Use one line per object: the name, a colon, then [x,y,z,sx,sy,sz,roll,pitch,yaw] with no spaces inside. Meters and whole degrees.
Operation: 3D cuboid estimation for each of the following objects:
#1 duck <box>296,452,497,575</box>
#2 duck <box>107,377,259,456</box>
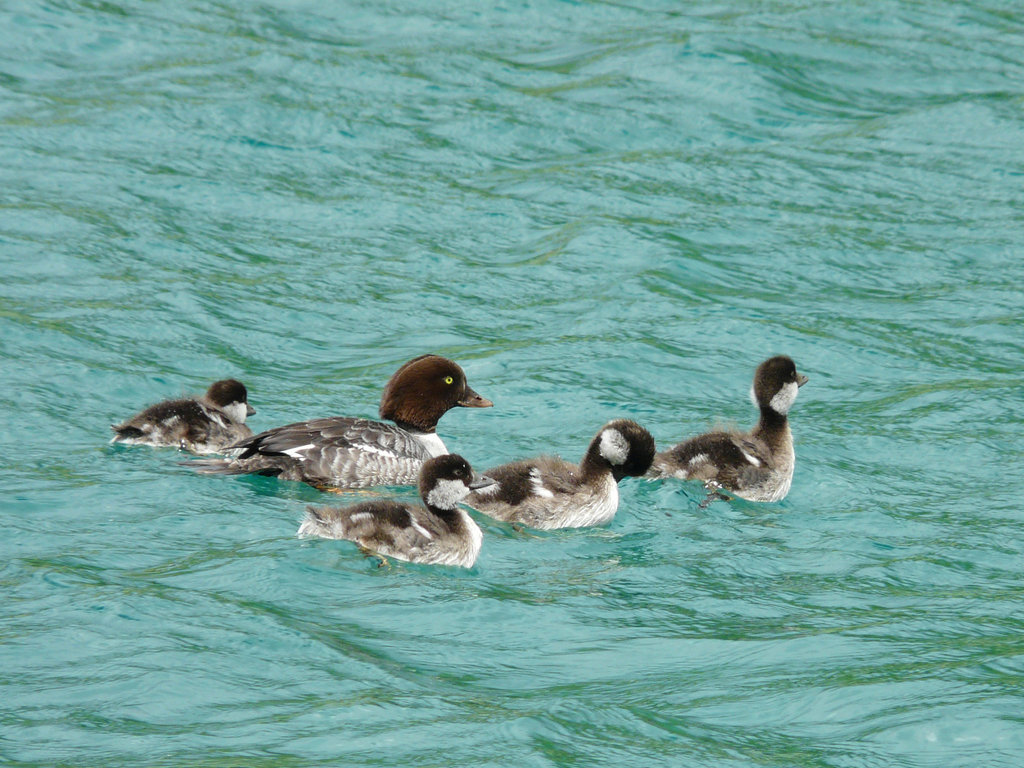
duck: [-0.871,1.039,10.041,1.465,0.510,0.826,10,72,1]
duck: [-3.156,0.313,11.564,0.924,1.457,0.672,26,103,16]
